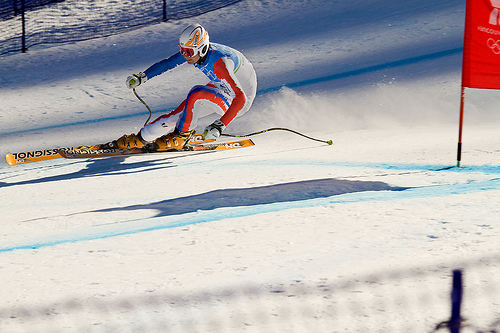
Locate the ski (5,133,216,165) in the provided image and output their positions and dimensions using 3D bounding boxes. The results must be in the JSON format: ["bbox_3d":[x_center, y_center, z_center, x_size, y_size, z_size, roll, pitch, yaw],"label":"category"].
[{"bbox_3d":[-1.707,-0.202,7.925,3.699,0.238,0.114,-4,-41,-5],"label":"ski"}]

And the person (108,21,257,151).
[{"bbox_3d":[-0.604,-0.924,7.647,1.385,1.539,0.931,-5,2,40],"label":"person"}]
